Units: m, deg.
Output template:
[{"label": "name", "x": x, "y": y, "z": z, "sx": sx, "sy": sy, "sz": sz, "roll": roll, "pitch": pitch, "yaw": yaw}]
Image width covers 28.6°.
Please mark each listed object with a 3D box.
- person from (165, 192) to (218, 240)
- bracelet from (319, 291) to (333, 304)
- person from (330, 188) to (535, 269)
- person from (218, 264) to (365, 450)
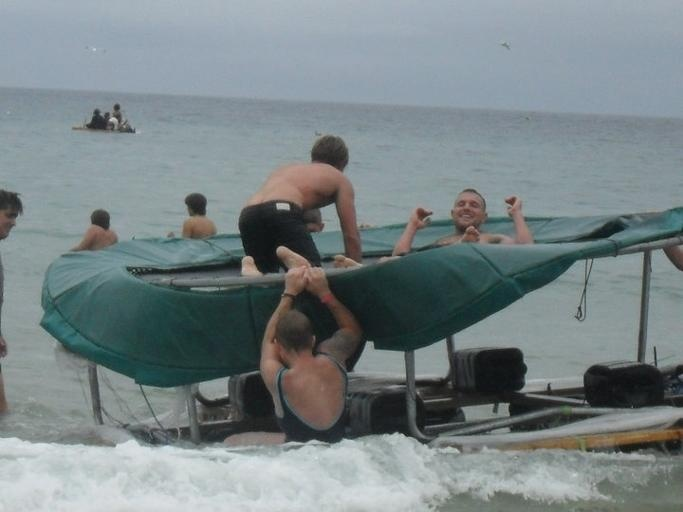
[{"label": "person", "x": -2.293, "y": -0.576, "z": 20.678, "sx": 0.549, "sy": 0.833, "sz": 0.693, "roll": 16, "pitch": 19, "yaw": 36}, {"label": "bracelet", "x": -0.181, "y": 0.470, "z": 15.511, "sx": 0.136, "sy": 0.107, "sz": 0.049, "roll": -6, "pitch": -40, "yaw": 5}, {"label": "person", "x": 1.584, "y": -0.362, "z": 17.144, "sx": 1.239, "sy": 0.980, "sz": 1.948, "roll": -10, "pitch": -14, "yaw": 42}, {"label": "person", "x": -0.384, "y": 1.120, "z": 15.400, "sx": 1.086, "sy": 1.936, "sz": 0.751, "roll": 1, "pitch": 13, "yaw": 3}]
